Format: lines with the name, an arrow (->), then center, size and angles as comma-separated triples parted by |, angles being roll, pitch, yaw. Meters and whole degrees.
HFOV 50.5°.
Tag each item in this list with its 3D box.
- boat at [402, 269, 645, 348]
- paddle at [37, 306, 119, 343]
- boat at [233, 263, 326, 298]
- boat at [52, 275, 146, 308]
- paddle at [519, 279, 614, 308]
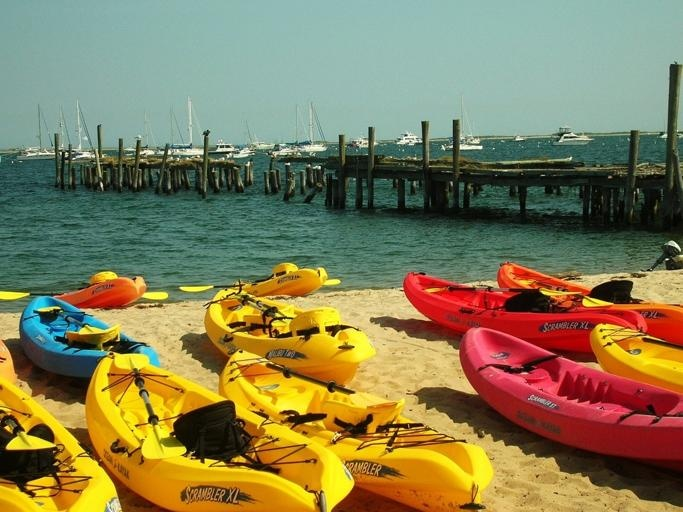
boat -> 2.753, 0.823, 11.806 | 3.909, 0.597, 1.199 | 7, 16, 37
paddle -> -4.121, 1.079, 11.084 | 0.568, 0.246, 1.789 | -16, 17, -41
boat -> -1.174, 0.502, 14.970 | 2.005, 0.394, 0.664 | -3, 7, -2
boat -> -4.612, 0.716, 14.173 | 1.650, 0.348, 0.712 | -8, 12, -29
paddle -> 3.708, 0.639, 12.143 | 1.371, 0.192, 0.509 | 9, 20, 36
